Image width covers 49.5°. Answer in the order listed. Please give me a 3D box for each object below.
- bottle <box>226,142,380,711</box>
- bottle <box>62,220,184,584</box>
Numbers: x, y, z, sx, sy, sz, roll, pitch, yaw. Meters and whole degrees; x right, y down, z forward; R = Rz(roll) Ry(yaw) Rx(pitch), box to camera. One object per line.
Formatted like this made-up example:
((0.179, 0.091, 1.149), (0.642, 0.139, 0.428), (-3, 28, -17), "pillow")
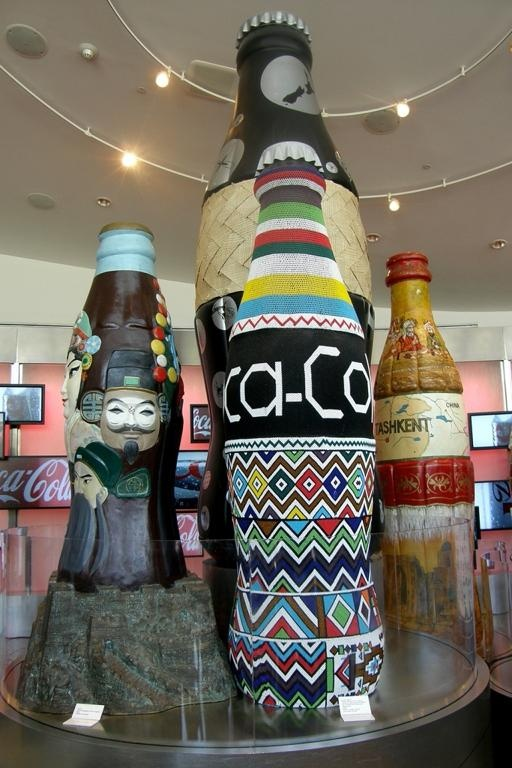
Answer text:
((0.073, 0.019, 0.881), (0.230, 0.883, 0.180), (1, -3, -15), "bottle")
((-0.245, -0.007, 1.084), (0.251, 0.720, 0.422), (1, -3, -19), "bottle")
